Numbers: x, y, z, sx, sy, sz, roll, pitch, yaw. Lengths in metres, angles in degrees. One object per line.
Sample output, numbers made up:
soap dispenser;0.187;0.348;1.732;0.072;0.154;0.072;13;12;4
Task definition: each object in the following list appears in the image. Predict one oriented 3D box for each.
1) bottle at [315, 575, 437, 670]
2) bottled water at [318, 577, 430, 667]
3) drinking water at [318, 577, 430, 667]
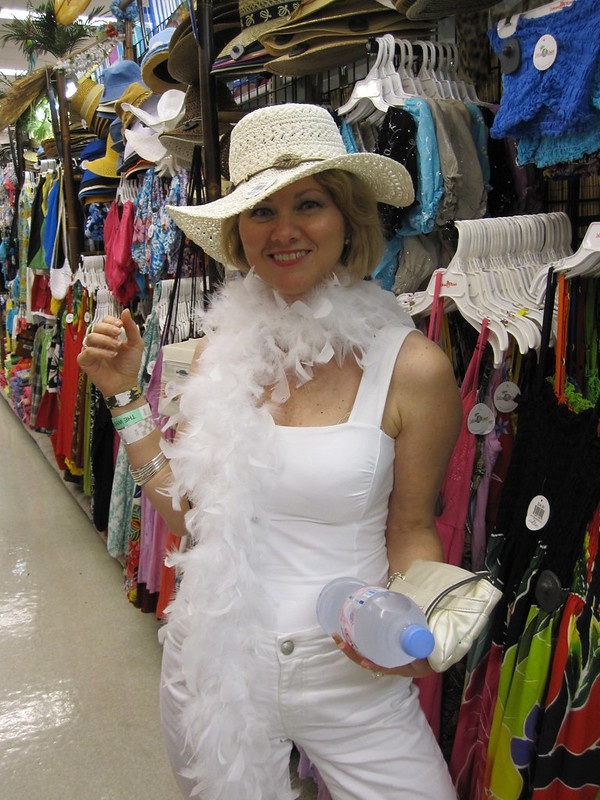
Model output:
bottle;0.099;0.286;0.729;0.070;0.070;0.160;-48;16;-4
bottled water;0.096;0.282;0.724;0.068;0.067;0.155;-48;17;-4
drinking water;0.096;0.282;0.724;0.068;0.067;0.155;-48;17;-4
